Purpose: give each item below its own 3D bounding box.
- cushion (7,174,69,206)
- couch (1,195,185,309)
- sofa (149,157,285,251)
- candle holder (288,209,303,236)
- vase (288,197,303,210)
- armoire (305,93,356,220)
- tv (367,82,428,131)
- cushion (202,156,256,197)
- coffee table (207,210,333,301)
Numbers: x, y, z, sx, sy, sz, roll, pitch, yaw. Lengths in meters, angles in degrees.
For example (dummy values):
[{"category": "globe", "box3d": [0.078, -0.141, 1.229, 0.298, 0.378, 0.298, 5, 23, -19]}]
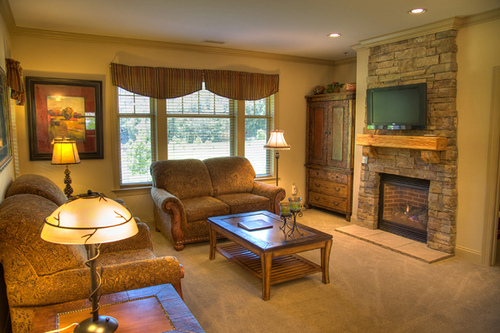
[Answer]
[{"category": "cushion", "box3d": [-2.524, 0.223, 4.251, 0.699, 0.386, 0.791, 1, 8, -33]}, {"category": "couch", "box3d": [-1.505, 0.823, 3.595, 1.451, 1.042, 1.368, -2, 6, -21]}, {"category": "sofa", "box3d": [-0.590, 0.544, 6.340, 2.190, 1.266, 1.177, -3, 11, -30]}, {"category": "candle holder", "box3d": [0.638, 0.723, 4.747, 0.265, 0.313, 0.257, 3, -5, -44]}, {"category": "vase", "box3d": [0.596, 0.487, 4.716, 0.161, 0.109, 0.156, 0, -2, -35]}, {"category": "armoire", "box3d": [1.621, -0.299, 7.215, 0.487, 2.183, 1.065, -3, 8, -28]}, {"category": "tv", "box3d": [2.374, -0.948, 5.671, 0.095, 0.641, 0.875, -2, 3, -34]}, {"category": "cushion", "box3d": [-0.354, 0.150, 6.575, 0.827, 0.726, 0.356, -9, -5, -26]}, {"category": "coffee table", "box3d": [0.199, 1.135, 5.007, 1.075, 0.614, 1.567, -3, 7, -32]}]
